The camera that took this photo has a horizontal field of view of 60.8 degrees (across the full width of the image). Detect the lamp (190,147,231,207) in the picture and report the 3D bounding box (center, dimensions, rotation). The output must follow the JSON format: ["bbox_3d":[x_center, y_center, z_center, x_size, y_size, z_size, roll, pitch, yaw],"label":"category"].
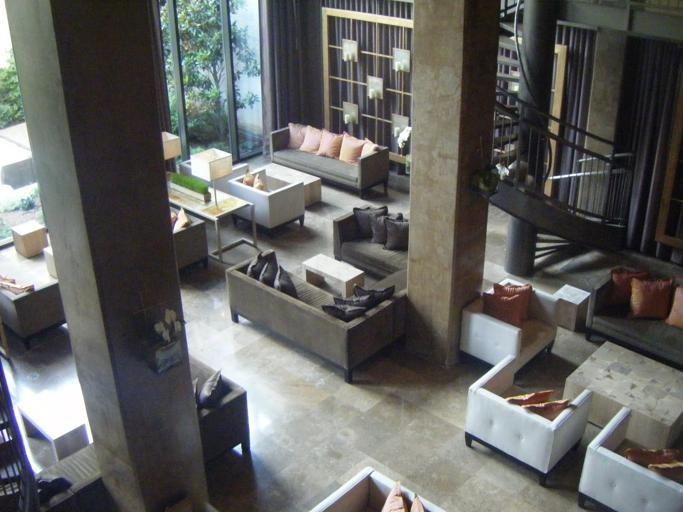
[{"bbox_3d":[-2.295,-1.332,10.141,0.591,1.257,0.593,-23,37,-37],"label":"lamp"}]

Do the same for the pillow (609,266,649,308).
[{"bbox_3d":[3.920,0.403,8.002,0.219,0.571,0.551,27,-14,-24],"label":"pillow"}]

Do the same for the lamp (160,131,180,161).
[{"bbox_3d":[-3.293,-2.061,11.015,0.301,0.478,0.389,15,28,33],"label":"lamp"}]

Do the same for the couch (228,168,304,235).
[{"bbox_3d":[-1.399,-1.063,11.044,1.114,0.847,0.850,24,38,38],"label":"couch"}]

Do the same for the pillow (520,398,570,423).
[{"bbox_3d":[2.174,1.580,6.044,0.553,0.151,0.205,-3,24,-6],"label":"pillow"}]

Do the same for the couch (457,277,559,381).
[{"bbox_3d":[2.355,0.920,7.623,0.851,0.675,0.680,-23,29,-18],"label":"couch"}]

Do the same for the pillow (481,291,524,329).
[{"bbox_3d":[2.060,0.659,7.361,0.402,0.453,0.181,-9,-2,6],"label":"pillow"}]

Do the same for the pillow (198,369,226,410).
[{"bbox_3d":[-1.405,1.398,6.094,0.126,0.267,0.423,24,-24,-11],"label":"pillow"}]

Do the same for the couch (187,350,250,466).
[{"bbox_3d":[-1.320,1.664,6.219,0.509,0.551,1.121,-24,41,-37],"label":"couch"}]

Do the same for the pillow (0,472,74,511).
[{"bbox_3d":[-2.507,1.929,4.751,0.207,0.119,0.483,19,28,30],"label":"pillow"}]

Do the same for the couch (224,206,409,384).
[{"bbox_3d":[-0.394,0.810,8.241,1.945,0.830,1.373,21,22,30],"label":"couch"}]

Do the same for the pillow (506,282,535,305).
[{"bbox_3d":[2.378,0.447,7.656,0.249,0.121,0.258,21,31,33],"label":"pillow"}]

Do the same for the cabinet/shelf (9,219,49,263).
[{"bbox_3d":[-4.748,-0.206,8.813,0.417,0.423,0.429,-28,47,-30],"label":"cabinet/shelf"}]

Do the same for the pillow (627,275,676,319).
[{"bbox_3d":[4.104,0.551,7.699,0.465,0.538,0.179,4,7,8],"label":"pillow"}]

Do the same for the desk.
[{"bbox_3d":[-2.249,-0.811,10.123,0.517,1.610,0.452,-17,10,-1],"label":"desk"}]

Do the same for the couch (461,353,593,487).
[{"bbox_3d":[1.992,1.680,6.327,1.212,1.064,1.002,22,42,34],"label":"couch"}]
